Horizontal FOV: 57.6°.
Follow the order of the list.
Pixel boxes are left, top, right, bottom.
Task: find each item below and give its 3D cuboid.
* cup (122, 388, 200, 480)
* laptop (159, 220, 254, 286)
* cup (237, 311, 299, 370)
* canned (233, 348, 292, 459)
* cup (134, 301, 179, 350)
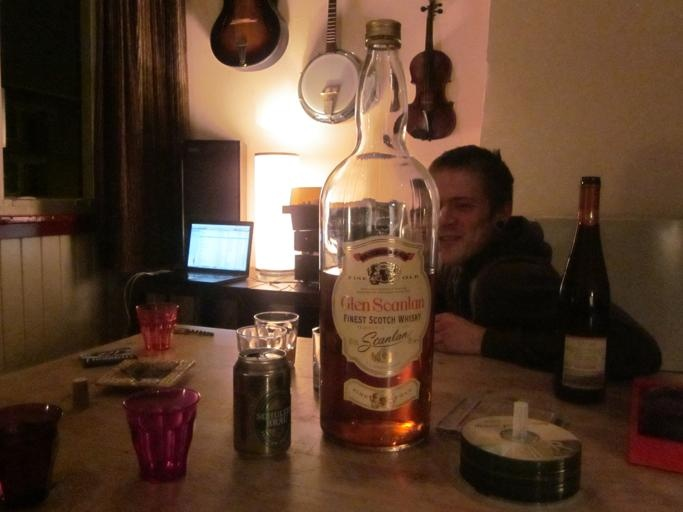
[{"bbox_3d":[-0.257,0.259,0.920,0.119,0.127,0.083,-3,6,-37],"label":"cup"},{"bbox_3d":[-0.633,-0.013,2.779,0.430,0.243,0.328,2,14,27],"label":"laptop"},{"bbox_3d":[-0.149,0.169,1.248,0.104,0.086,0.121,0,-2,-1],"label":"cup"},{"bbox_3d":[-0.121,0.230,0.960,0.109,0.144,0.107,1,2,20],"label":"canned"},{"bbox_3d":[-0.404,0.159,1.372,0.085,0.088,0.086,-2,-4,0],"label":"cup"}]
